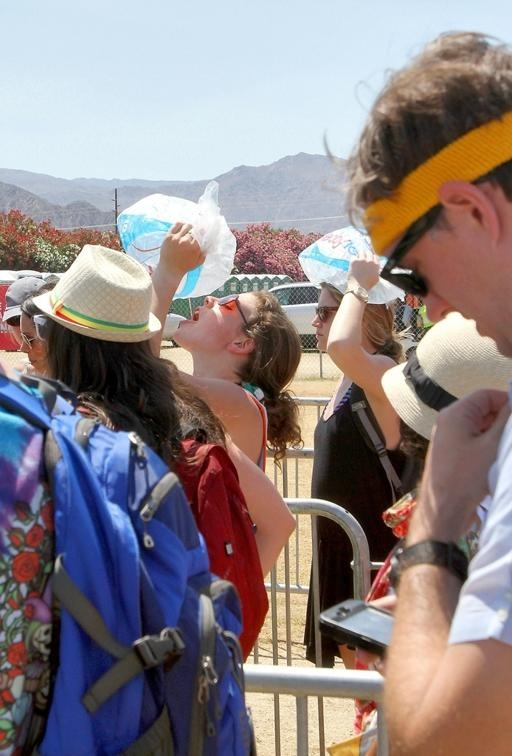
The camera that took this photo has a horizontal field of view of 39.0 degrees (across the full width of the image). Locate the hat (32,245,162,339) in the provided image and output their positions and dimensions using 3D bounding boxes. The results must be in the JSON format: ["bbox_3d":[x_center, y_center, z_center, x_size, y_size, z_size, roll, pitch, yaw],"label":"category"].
[{"bbox_3d":[-0.412,-0.232,1.925,0.333,0.161,0.297,29,32,24],"label":"hat"}]

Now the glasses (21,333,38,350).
[{"bbox_3d":[-1.133,-0.184,3.597,0.133,0.037,0.120,8,6,-17],"label":"glasses"}]

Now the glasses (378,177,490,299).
[{"bbox_3d":[0.276,-0.219,1.175,0.157,0.147,0.045,-32,62,-18],"label":"glasses"}]

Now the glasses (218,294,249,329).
[{"bbox_3d":[-0.072,-0.295,3.046,0.049,0.141,0.127,-41,31,-25],"label":"glasses"}]

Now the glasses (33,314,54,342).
[{"bbox_3d":[-0.561,-0.133,1.945,0.025,0.072,0.075,-7,7,-40],"label":"glasses"}]

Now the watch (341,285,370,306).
[{"bbox_3d":[0.482,-0.401,3.424,0.115,0.074,0.112,24,-21,20],"label":"watch"}]

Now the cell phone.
[{"bbox_3d":[0.154,0.391,1.146,0.105,0.024,0.099,7,9,-22],"label":"cell phone"}]
